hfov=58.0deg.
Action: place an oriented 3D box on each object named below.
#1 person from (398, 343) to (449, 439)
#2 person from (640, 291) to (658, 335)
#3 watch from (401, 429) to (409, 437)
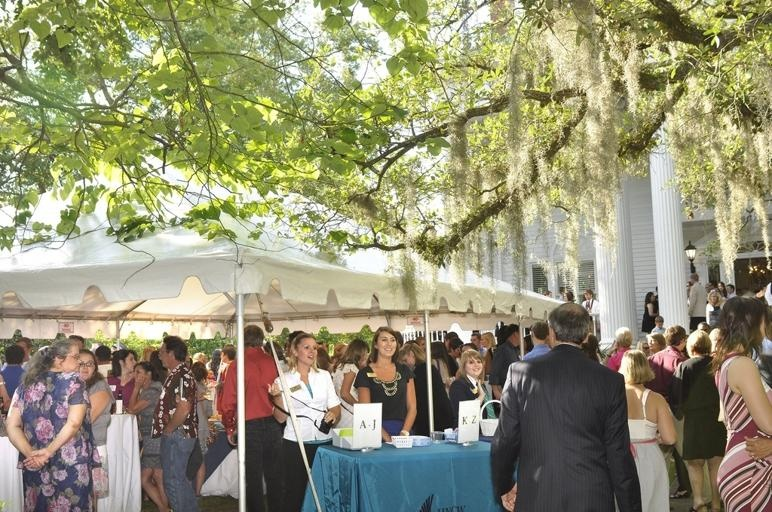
[{"bbox_3d":[0.488,1.928,9.890,0.531,1.471,0.544,4,17,22],"label":"person"},{"bbox_3d":[8.398,2.002,22.010,0.526,1.671,0.576,-5,8,-1],"label":"person"},{"bbox_3d":[0.219,2.069,8.125,0.062,0.073,0.086,5,-8,-12],"label":"watch"}]
